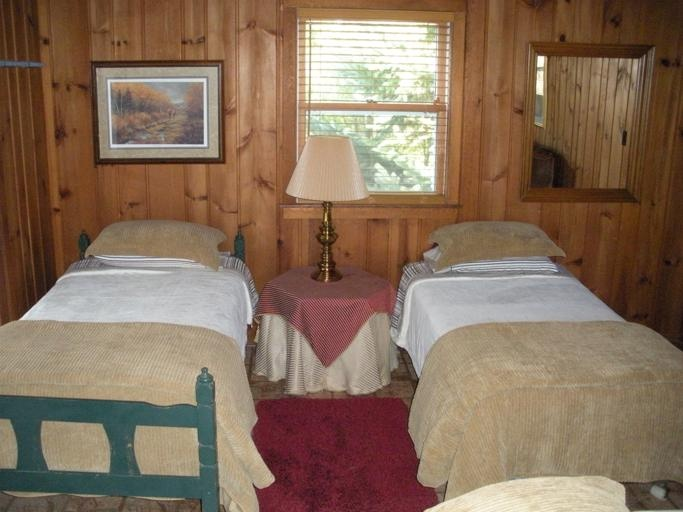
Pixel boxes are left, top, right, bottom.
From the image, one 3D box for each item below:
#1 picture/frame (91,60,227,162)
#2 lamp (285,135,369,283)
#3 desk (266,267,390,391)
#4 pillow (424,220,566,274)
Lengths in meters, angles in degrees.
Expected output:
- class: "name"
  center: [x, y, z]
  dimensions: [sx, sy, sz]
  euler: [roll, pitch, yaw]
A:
- class: "picture/frame"
  center: [-1.190, -0.964, 3.587]
  dimensions: [0.612, 0.514, 0.032]
  euler: [0, 8, -5]
- class: "lamp"
  center: [-0.082, -0.283, 3.346]
  dimensions: [0.372, 0.856, 0.345]
  euler: [12, 19, 41]
- class: "desk"
  center: [-0.094, 0.439, 3.460]
  dimensions: [0.810, 0.563, 0.930]
  euler: [6, 11, 19]
- class: "pillow"
  center: [0.926, -0.072, 3.421]
  dimensions: [0.491, 0.141, 0.441]
  euler: [-2, 20, 6]
